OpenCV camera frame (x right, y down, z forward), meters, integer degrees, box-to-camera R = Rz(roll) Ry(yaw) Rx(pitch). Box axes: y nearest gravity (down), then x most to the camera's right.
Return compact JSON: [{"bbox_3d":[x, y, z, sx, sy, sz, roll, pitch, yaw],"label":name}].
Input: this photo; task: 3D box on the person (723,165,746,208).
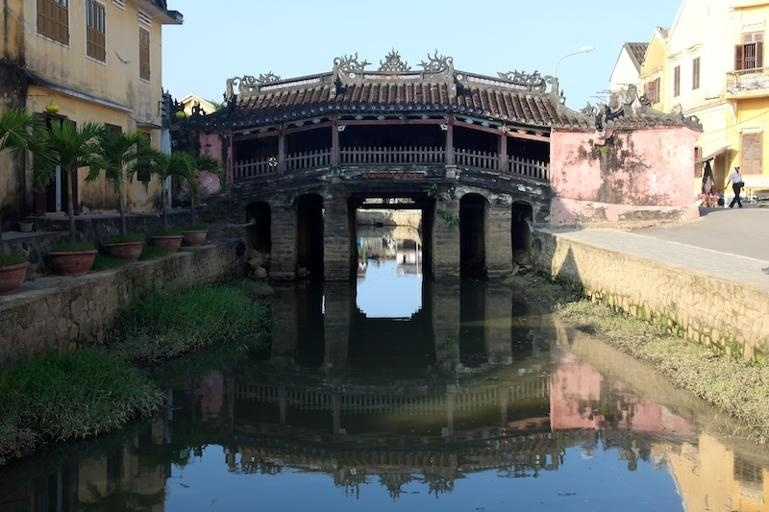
[{"bbox_3d":[13.881,-2.666,33.539,0.627,1.613,2.965,1,6,22],"label":"person"}]
